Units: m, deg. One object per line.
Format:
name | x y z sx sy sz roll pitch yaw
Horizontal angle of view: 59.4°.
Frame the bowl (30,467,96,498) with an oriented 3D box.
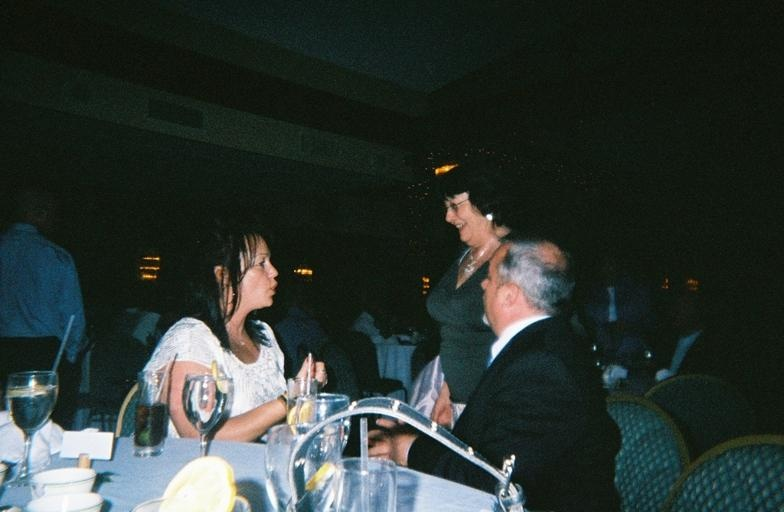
bowl | -1.849 1.268 3.871 0.210 0.098 0.207 0 -1 0
